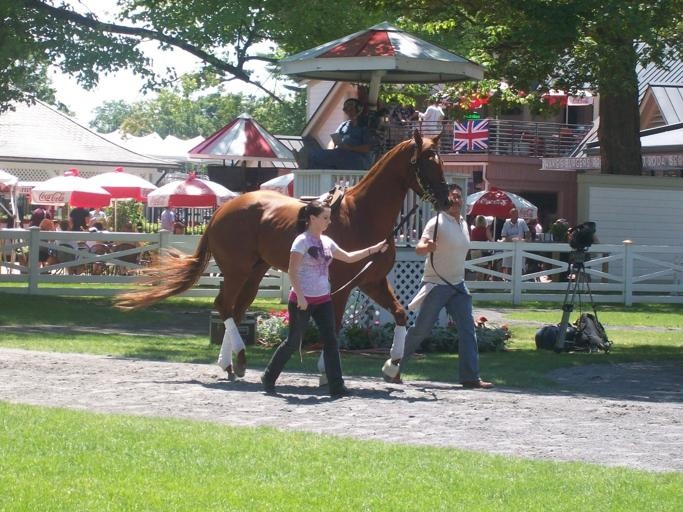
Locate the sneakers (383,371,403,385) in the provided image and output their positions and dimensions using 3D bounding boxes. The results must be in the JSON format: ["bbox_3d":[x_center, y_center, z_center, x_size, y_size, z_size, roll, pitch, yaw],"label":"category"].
[{"bbox_3d":[0.839,2.051,22.602,0.302,0.116,0.138,4,4,-8],"label":"sneakers"}]

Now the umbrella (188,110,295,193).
[{"bbox_3d":[-2.466,-2.800,36.037,2.708,1.703,2.618,3,3,-39],"label":"umbrella"}]

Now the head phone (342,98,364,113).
[{"bbox_3d":[0.187,-2.811,25.273,0.323,0.236,0.245,10,8,19],"label":"head phone"}]

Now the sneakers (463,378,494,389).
[{"bbox_3d":[2.223,2.114,22.392,0.499,0.184,0.176,-3,-2,7],"label":"sneakers"}]

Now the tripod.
[{"bbox_3d":[4.357,0.849,25.955,0.882,1.808,0.845,6,-8,-30],"label":"tripod"}]

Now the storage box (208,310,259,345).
[{"bbox_3d":[-2.043,1.378,25.952,0.712,0.494,0.687,0,1,0],"label":"storage box"}]

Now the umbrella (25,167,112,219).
[{"bbox_3d":[-8.315,-1.939,41.687,2.383,1.139,2.286,2,-6,-5],"label":"umbrella"}]

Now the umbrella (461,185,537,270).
[{"bbox_3d":[4.392,-0.949,40.190,2.557,2.226,2.680,0,-1,17],"label":"umbrella"}]

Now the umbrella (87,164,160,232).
[{"bbox_3d":[-6.215,-1.590,39.804,2.282,1.960,2.097,1,5,-24],"label":"umbrella"}]

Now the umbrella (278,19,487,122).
[{"bbox_3d":[0.748,-3.945,26.500,3.028,1.242,3.103,8,10,26],"label":"umbrella"}]

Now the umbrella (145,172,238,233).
[{"bbox_3d":[-4.270,-1.646,38.575,2.055,1.371,1.911,-1,2,-1],"label":"umbrella"}]
